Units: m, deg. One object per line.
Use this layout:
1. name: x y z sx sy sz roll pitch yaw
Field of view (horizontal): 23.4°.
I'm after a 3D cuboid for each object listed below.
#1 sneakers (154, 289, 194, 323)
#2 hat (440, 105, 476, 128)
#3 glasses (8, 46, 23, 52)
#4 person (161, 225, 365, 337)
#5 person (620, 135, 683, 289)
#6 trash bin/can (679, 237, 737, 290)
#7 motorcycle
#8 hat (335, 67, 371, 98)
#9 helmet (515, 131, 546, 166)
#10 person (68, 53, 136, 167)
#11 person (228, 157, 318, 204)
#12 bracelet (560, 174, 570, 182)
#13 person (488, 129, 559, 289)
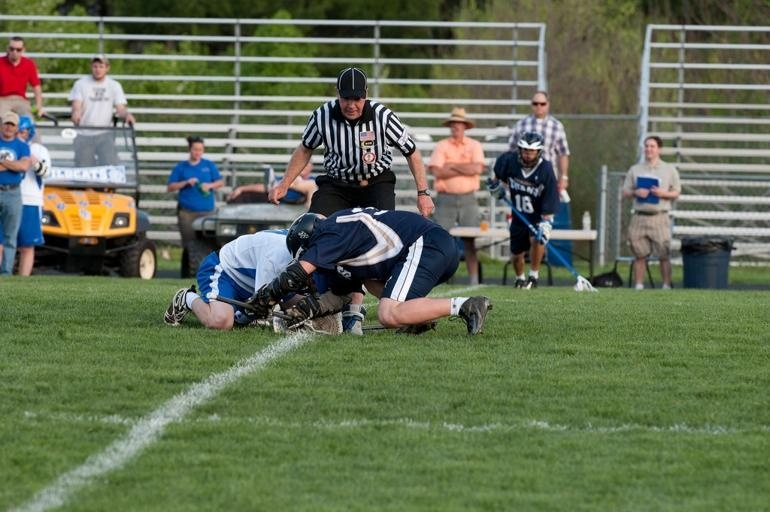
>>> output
1. sneakers: -2.814 0.684 24.932 0.291 0.650 0.237 21 -5 32
2. hat: 1.225 -2.410 30.857 0.490 0.238 0.498 2 -8 6
3. glasses: -5.958 -3.319 29.856 0.195 0.077 0.085 1 2 -19
4. person: -1.828 0.317 25.101 2.000 1.034 1.499 -6 0 12
5. person: 4.261 -0.733 29.734 0.890 2.385 0.645 2 2 8
6. trash bin/can: 5.110 0.075 29.335 0.790 1.034 0.819 0 0 16
7. motorcycle: -2.367 -0.427 31.351 1.667 1.687 2.731 4 -1 -9
8. hat: -0.452 -2.399 25.203 0.410 0.323 0.610 5 7 -3
9. helmet: 2.228 -1.658 28.325 0.421 0.510 0.550 8 17 16
10. person: -4.648 -2.366 30.057 0.958 1.800 1.593 1 2 -10
11. person: -1.780 -1.230 30.599 1.217 1.061 0.760 2 5 11
12. bracelet: 2.916 -1.239 29.945 0.170 0.171 0.179 2 19 3
13. person: 2.167 -0.731 28.581 0.860 2.355 0.983 1 2 -22
